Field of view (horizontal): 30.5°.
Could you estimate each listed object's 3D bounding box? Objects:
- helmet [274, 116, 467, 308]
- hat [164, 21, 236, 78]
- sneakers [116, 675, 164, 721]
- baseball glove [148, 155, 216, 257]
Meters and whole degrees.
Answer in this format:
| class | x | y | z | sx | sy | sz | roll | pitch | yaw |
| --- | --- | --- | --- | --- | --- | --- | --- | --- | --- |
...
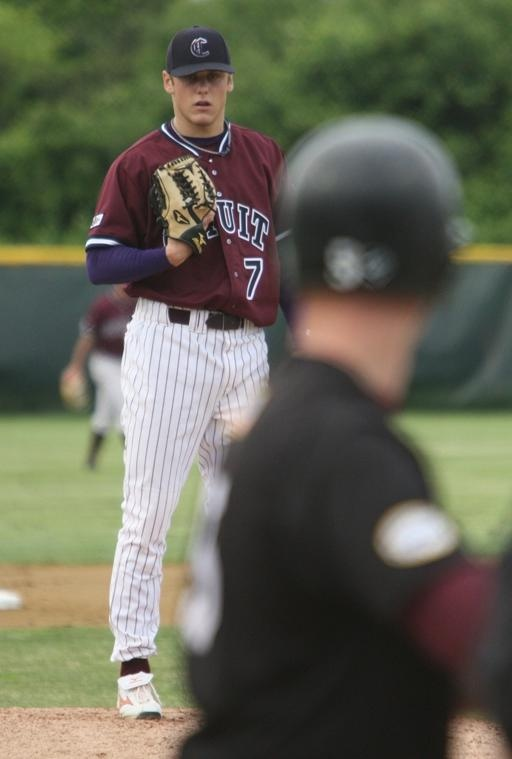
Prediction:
| class | x | y | z | sx | sy | sz | roll | pitch | yaw |
| --- | --- | --- | --- | --- | --- | --- | --- | --- | --- |
| helmet | 0.072 | -0.138 | 0.813 | 0.202 | 0.130 | 0.147 | 0 | 86 | -20 |
| hat | -0.136 | -0.842 | 2.405 | 0.163 | 0.093 | 0.188 | -2 | 7 | -11 |
| sneakers | -0.296 | 0.808 | 2.390 | 0.078 | 0.166 | 0.061 | 1 | 81 | -20 |
| baseball glove | -0.175 | -0.422 | 2.260 | 0.193 | 0.203 | 0.081 | -13 | 8 | -40 |
